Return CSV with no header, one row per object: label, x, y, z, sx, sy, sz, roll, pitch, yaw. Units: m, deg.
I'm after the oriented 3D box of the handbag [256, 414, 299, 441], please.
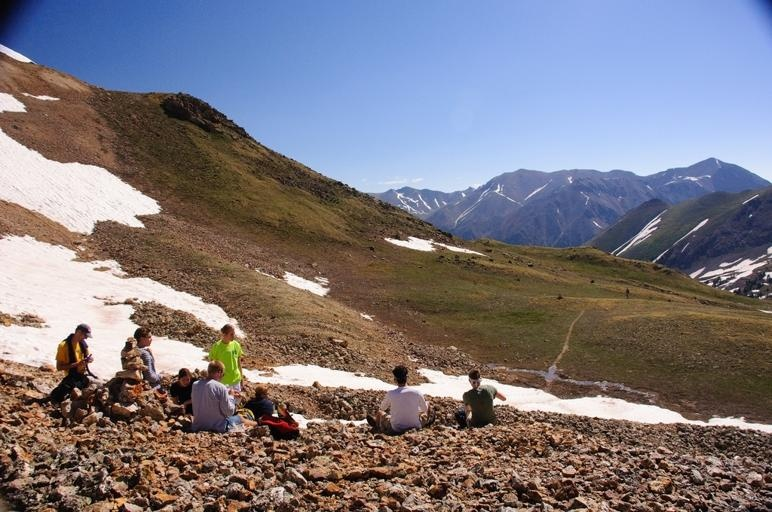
handbag,-5.696,9.151,33.305,1.968,0.481,1.533,0,-3,11
